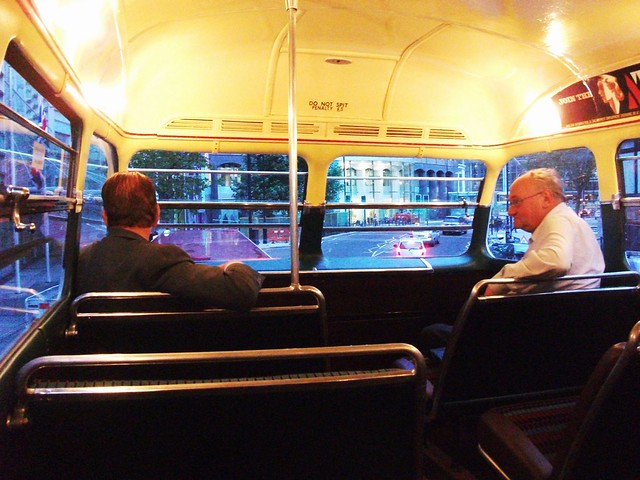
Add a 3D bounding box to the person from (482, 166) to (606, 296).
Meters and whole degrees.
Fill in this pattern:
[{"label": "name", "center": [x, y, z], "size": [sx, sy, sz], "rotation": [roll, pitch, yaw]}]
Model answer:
[{"label": "person", "center": [1.540, 0.051, 3.568], "size": [0.914, 1.018, 1.419], "rotation": [-3, -15, 24]}]
